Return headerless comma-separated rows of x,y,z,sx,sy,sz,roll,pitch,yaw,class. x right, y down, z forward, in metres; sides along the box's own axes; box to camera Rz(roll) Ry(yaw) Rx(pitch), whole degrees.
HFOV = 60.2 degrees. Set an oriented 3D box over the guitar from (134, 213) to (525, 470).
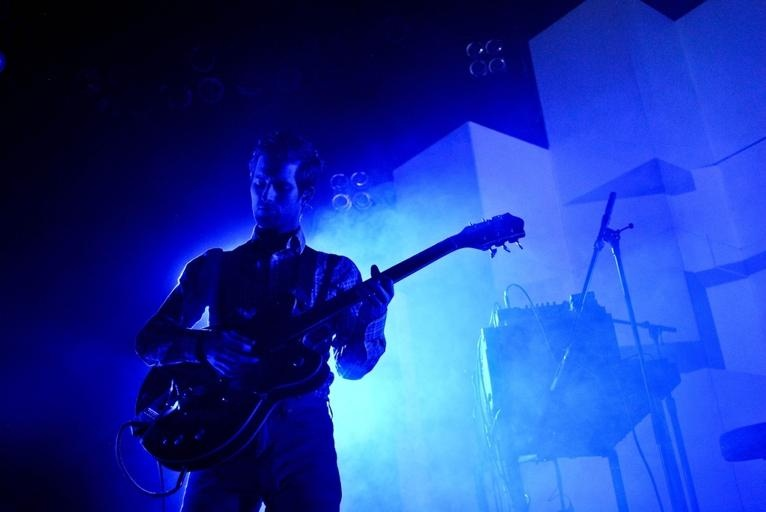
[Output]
-0.517,0.970,5.308,3.703,1.389,0.443,-29,-33,2,guitar
